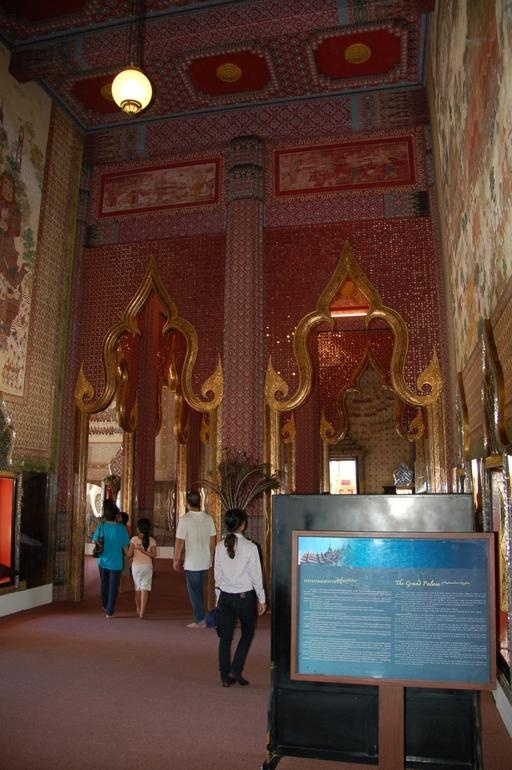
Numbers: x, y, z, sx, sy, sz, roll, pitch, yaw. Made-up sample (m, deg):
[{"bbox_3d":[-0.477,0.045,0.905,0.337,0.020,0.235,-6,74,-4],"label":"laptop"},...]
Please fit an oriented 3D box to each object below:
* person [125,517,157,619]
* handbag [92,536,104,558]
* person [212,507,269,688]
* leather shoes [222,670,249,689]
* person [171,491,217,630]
[{"bbox_3d":[-1.422,2.250,6.960,0.303,1.161,1.382,4,-14,-10],"label":"person"},{"bbox_3d":[-1.807,1.889,6.485,0.113,0.199,0.189,13,-28,-15],"label":"handbag"},{"bbox_3d":[-0.125,1.532,4.061,0.370,1.226,0.449,2,-14,-4],"label":"person"},{"bbox_3d":[-0.152,2.123,4.082,0.241,0.108,0.082,5,-12,-23],"label":"leather shoes"},{"bbox_3d":[-0.665,1.910,6.096,0.421,1.460,0.760,3,-14,-6],"label":"person"}]
